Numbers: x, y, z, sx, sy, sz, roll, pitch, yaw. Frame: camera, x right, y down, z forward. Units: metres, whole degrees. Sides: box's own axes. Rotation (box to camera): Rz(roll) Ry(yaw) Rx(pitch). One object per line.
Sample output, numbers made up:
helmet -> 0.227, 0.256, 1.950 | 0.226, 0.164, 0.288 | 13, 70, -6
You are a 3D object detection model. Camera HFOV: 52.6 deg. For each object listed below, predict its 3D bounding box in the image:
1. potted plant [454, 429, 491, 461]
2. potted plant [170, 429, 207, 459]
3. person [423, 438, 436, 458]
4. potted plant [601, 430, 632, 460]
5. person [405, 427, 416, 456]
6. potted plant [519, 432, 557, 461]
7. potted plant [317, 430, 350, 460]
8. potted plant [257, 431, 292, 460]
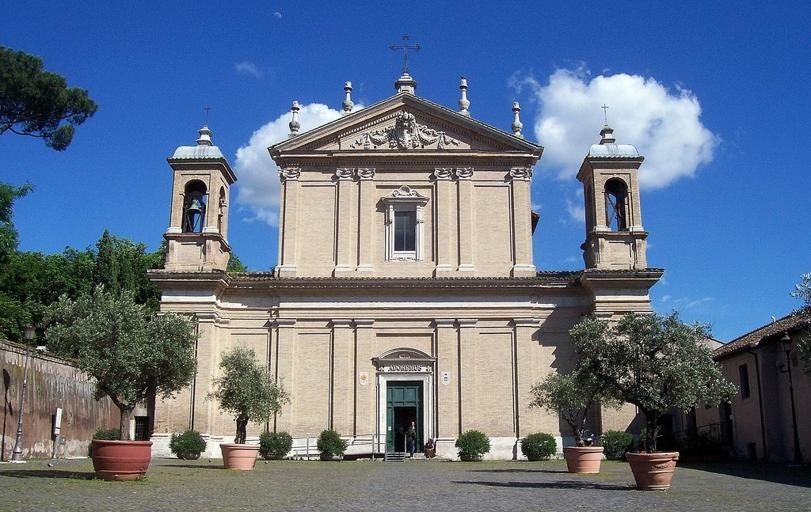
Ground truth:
potted plant -> 3.196, 9.225, 39.713 | 1.475, 1.485, 1.422 | 8, -20, -17
potted plant -> -10.287, 8.852, 38.339 | 1.360, 1.367, 1.361 | 4, -7, 15
person -> 1.196, 9.357, 39.906 | 0.583, 0.998, 0.536 | -5, -58, 14
potted plant -> 10.001, 9.008, 39.552 | 1.620, 1.619, 1.456 | 3, -18, -3
person -> 0.306, 9.103, 40.513 | 0.521, 1.560, 1.087 | 1, -13, 0
potted plant -> 6.455, 9.136, 39.325 | 1.399, 1.208, 1.382 | -12, -18, 32
potted plant -> -3.530, 9.167, 39.786 | 1.379, 1.401, 1.320 | 5, -29, -11
potted plant -> -6.408, 9.013, 39.591 | 1.255, 1.432, 1.377 | 7, -6, -35
